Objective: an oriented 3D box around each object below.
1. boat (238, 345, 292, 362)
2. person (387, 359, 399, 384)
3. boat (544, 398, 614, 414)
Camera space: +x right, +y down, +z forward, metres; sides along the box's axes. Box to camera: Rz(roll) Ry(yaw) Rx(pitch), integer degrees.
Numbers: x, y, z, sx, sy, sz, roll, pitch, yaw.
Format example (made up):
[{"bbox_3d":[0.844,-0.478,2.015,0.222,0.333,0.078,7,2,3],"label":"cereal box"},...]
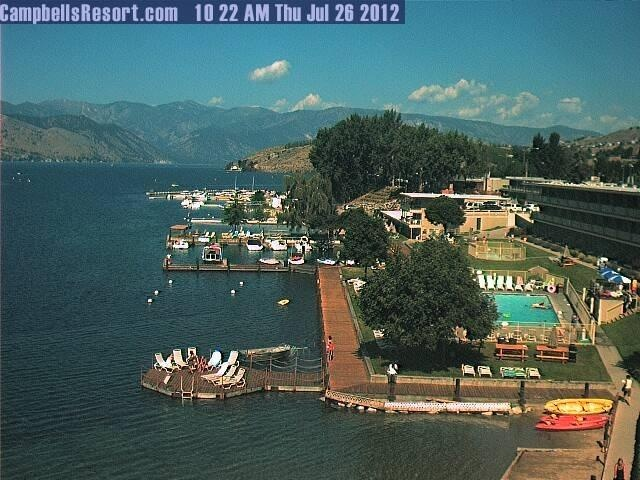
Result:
[{"bbox_3d":[-5.710,12.391,64.904,4.767,1.221,1.750,-1,13,-21],"label":"boat"},{"bbox_3d":[6.308,11.691,53.725,0.834,0.967,1.785,2,12,4],"label":"person"},{"bbox_3d":[21.181,14.072,50.655,5.088,0.876,1.891,0,29,6],"label":"boat"}]
